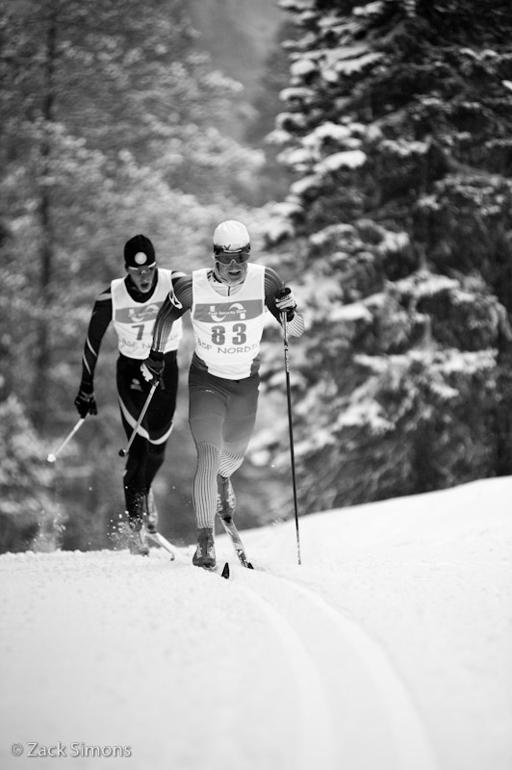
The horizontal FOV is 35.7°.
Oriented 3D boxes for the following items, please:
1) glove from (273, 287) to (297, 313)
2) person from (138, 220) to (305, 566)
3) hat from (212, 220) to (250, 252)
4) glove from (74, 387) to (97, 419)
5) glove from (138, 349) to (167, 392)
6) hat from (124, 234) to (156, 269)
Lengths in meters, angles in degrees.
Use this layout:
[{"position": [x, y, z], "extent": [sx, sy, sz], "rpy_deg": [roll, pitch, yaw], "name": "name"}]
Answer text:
[{"position": [0.143, -0.423, 3.964], "extent": [0.076, 0.119, 0.119], "rpy_deg": [-2, 9, -2], "name": "glove"}, {"position": [-0.257, -0.007, 3.851], "extent": [0.756, 1.301, 0.971], "rpy_deg": [15, 41, 6], "name": "person"}, {"position": [-0.119, -0.709, 3.810], "extent": [0.151, 0.120, 0.156], "rpy_deg": [-5, 10, -11], "name": "hat"}, {"position": [-1.010, 0.111, 4.739], "extent": [0.147, 0.196, 0.096], "rpy_deg": [7, 4, 0], "name": "glove"}, {"position": [-0.532, -0.079, 4.189], "extent": [0.141, 0.197, 0.077], "rpy_deg": [-5, 17, -19], "name": "glove"}, {"position": [-0.620, -0.739, 4.346], "extent": [0.140, 0.162, 0.192], "rpy_deg": [-2, 31, 0], "name": "hat"}]
